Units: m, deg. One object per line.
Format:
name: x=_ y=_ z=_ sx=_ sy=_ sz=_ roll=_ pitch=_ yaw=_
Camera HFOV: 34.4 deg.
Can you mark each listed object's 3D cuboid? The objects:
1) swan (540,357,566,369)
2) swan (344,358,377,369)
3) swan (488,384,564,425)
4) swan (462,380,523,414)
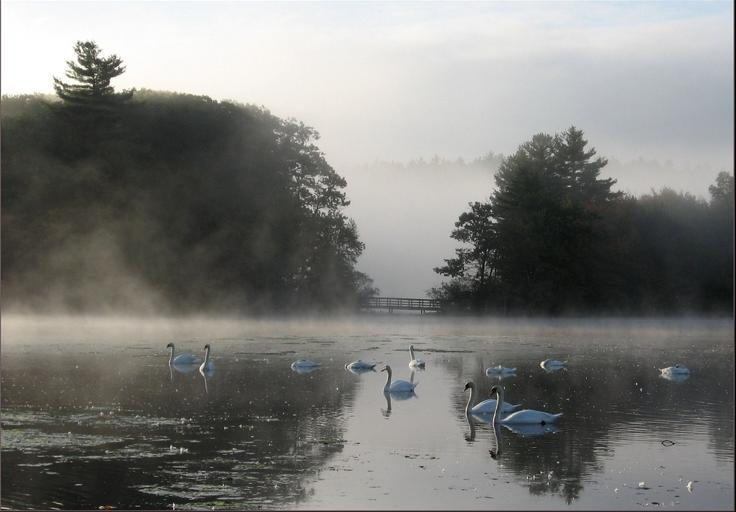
swan: x=11.212 y=6.627 z=71.704 sx=1.059 sy=0.534 sz=0.786 roll=2 pitch=-4 yaw=-17
swan: x=-0.476 y=6.570 z=71.670 sx=1.943 sy=0.930 sz=0.687 roll=1 pitch=-5 yaw=-6
swan: x=7.630 y=7.425 z=58.307 sx=3.366 sy=1.831 sz=1.842 roll=2 pitch=5 yaw=13
swan: x=6.201 y=7.391 z=59.913 sx=2.889 sy=1.954 sz=1.105 roll=-3 pitch=-15 yaw=8
